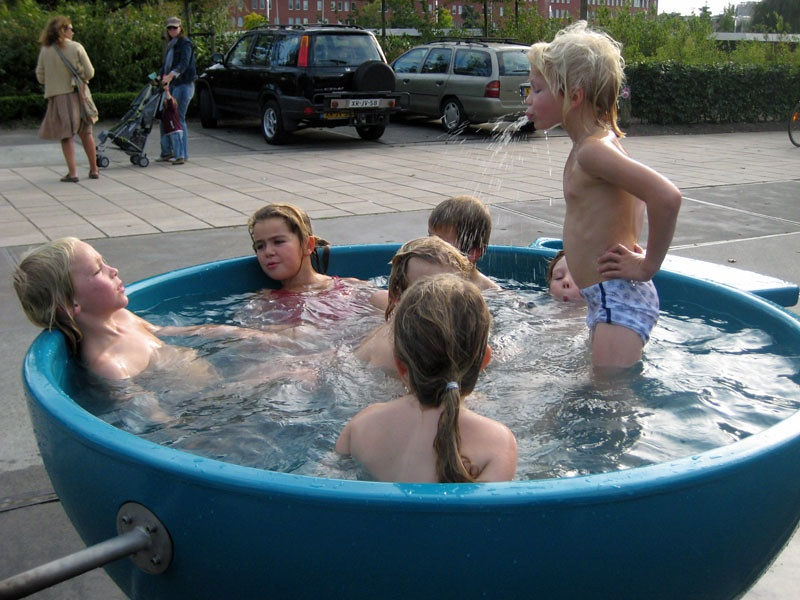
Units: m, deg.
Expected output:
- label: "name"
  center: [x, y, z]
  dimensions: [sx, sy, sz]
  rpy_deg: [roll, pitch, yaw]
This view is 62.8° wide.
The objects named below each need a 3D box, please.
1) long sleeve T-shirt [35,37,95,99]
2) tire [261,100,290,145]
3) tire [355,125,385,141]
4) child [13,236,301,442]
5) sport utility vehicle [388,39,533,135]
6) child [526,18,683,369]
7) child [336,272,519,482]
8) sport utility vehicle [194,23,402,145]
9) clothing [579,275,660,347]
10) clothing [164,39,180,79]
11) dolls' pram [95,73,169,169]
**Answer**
- label: "long sleeve T-shirt"
  center: [-4.389, -3.041, 8.640]
  dimensions: [0.742, 0.627, 0.380]
  rpy_deg: [0, 18, 2]
- label: "tire"
  center: [-2.298, -3.339, 12.154]
  dimensions: [0.280, 0.702, 0.751]
  rpy_deg: [-2, 16, -34]
- label: "tire"
  center: [-0.624, -3.410, 13.287]
  dimensions: [0.430, 0.389, 0.401]
  rpy_deg: [6, 12, 30]
- label: "child"
  center: [-1.095, 0.118, 3.034]
  dimensions: [1.293, 0.527, 0.819]
  rpy_deg: [17, 18, -14]
- label: "sport utility vehicle"
  center: [1.324, -4.527, 13.729]
  dimensions: [0.705, 1.944, 3.451]
  rpy_deg: [-13, 20, -37]
- label: "child"
  center: [0.922, -0.196, 3.002]
  dimensions: [0.694, 1.989, 0.791]
  rpy_deg: [1, 14, 16]
- label: "child"
  center: [0.090, 0.284, 2.276]
  dimensions: [0.666, 0.682, 0.508]
  rpy_deg: [4, 22, 1]
- label: "sport utility vehicle"
  center: [-2.171, -4.401, 13.035]
  dimensions: [2.234, 1.530, 3.885]
  rpy_deg: [-12, 26, -34]
- label: "clothing"
  center: [0.996, 0.071, 3.020]
  dimensions: [0.339, 0.283, 0.438]
  rpy_deg: [0, -2, 1]
- label: "clothing"
  center: [-3.495, -3.700, 9.982]
  dimensions: [0.256, 0.622, 0.622]
  rpy_deg: [-5, 17, -17]
- label: "dolls' pram"
  center: [-4.190, -2.777, 9.990]
  dimensions: [1.130, 1.336, 0.829]
  rpy_deg: [0, 21, -17]
